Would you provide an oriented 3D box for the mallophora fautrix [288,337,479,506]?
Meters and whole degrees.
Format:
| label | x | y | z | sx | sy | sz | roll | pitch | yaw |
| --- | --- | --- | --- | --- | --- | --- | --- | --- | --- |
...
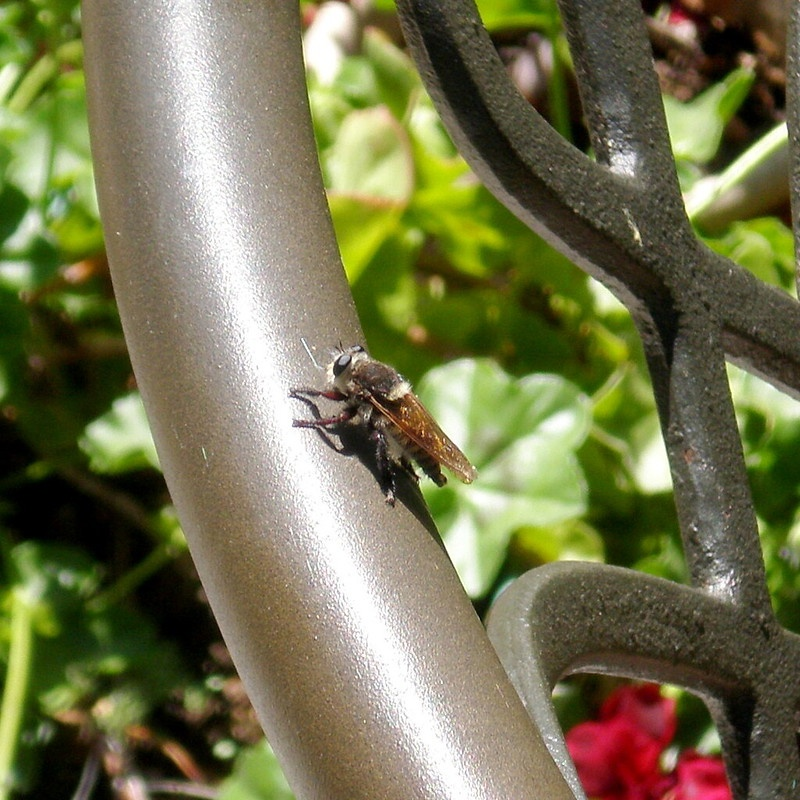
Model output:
| label | x | y | z | sx | sy | sz | roll | pitch | yaw |
| --- | --- | --- | --- | --- | --- | --- | --- | --- | --- |
| mallophora fautrix | -0.009 | 0.005 | 0.963 | 0.045 | 0.114 | 0.099 | -46 | 5 | 35 |
